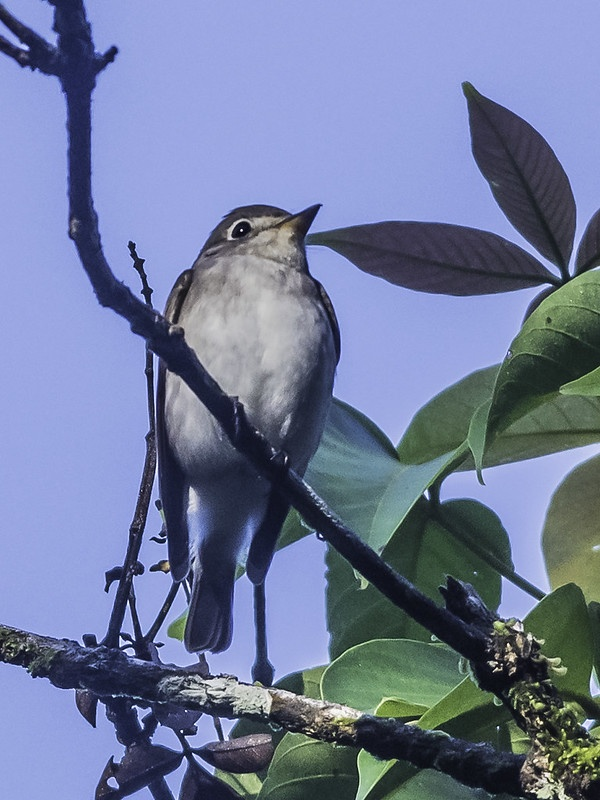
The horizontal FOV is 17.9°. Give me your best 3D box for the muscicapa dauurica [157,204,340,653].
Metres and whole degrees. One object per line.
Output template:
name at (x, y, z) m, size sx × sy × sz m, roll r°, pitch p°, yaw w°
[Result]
muscicapa dauurica at (-0.114, -0.019, 3.167) m, size 0.239 × 0.318 × 0.808 m, roll 6°, pitch -74°, yaw -28°
